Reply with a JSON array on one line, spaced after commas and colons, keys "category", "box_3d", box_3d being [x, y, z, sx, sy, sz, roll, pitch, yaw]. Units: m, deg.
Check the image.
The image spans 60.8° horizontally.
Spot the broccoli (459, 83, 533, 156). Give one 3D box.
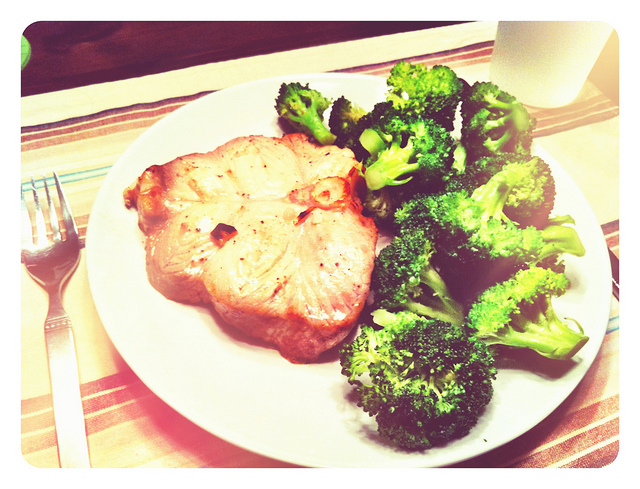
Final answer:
[{"category": "broccoli", "box_3d": [1.008, -0.723, 3.179, 0.404, 0.419, 0.165, -1, -12, -12]}]

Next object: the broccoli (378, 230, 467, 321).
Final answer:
[{"category": "broccoli", "box_3d": [0.537, 0.169, 2.891, 0.256, 0.347, 0.238, -60, 1, -20]}]

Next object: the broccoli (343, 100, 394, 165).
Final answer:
[{"category": "broccoli", "box_3d": [0.285, -0.686, 3.268, 0.106, 0.262, 0.372, -28, 30, 34]}]

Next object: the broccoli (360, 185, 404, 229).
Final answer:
[{"category": "broccoli", "box_3d": [0.371, -0.241, 3.286, 0.204, 0.265, 0.105, -42, -7, 1]}]

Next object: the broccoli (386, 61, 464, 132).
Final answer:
[{"category": "broccoli", "box_3d": [0.642, -0.912, 3.286, 0.411, 0.192, 0.407, -48, 47, 17]}]
